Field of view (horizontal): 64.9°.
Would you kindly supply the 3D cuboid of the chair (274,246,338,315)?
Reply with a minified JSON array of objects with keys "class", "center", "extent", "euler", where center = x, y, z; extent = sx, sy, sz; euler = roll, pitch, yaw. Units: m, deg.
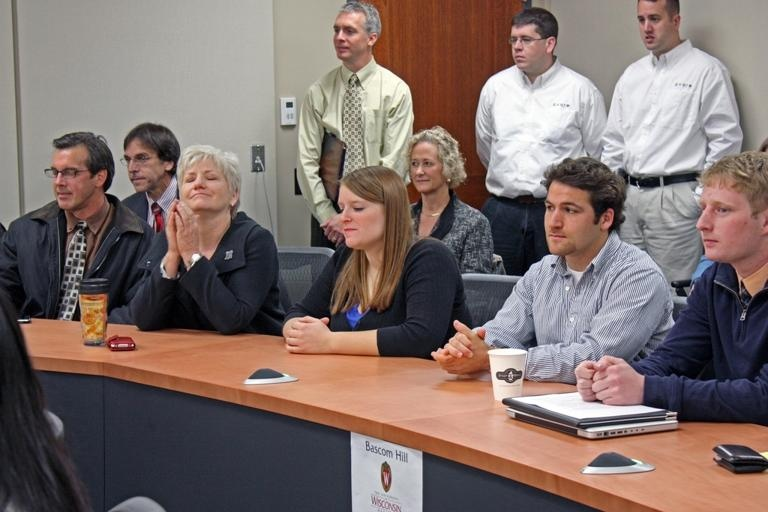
[{"class":"chair","center":[-0.459,0.129,3.320],"extent":[0.294,0.433,0.345],"euler":[0,-5,11]}]

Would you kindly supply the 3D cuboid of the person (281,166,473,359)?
[{"class":"person","center":[-0.012,0.040,2.717],"extent":[0.809,0.825,0.723],"euler":[-3,-4,42]}]

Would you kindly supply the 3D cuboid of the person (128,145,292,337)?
[{"class":"person","center":[-0.846,-0.076,3.049],"extent":[0.706,0.929,0.810],"euler":[-1,-1,8]}]

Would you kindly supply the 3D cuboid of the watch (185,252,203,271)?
[{"class":"watch","center":[-0.845,0.020,2.708],"extent":[0.032,0.078,0.058],"euler":[34,15,0]}]

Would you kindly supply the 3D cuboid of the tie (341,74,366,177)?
[{"class":"tie","center":[-0.224,-0.962,4.350],"extent":[0.176,0.700,0.099],"euler":[2,7,32]}]

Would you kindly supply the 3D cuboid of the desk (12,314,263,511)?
[{"class":"desk","center":[-0.766,0.520,1.940],"extent":[0.368,0.485,0.711],"euler":[-8,11,-43]}]

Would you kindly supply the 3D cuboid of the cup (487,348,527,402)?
[{"class":"cup","center":[0.381,0.364,1.867],"extent":[0.138,0.161,0.142],"euler":[0,-3,0]}]

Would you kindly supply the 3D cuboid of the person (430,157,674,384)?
[{"class":"person","center":[0.617,0.062,2.527],"extent":[1.002,0.916,0.682],"euler":[2,0,-36]}]

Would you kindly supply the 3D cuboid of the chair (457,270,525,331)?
[{"class":"chair","center":[0.497,0.202,2.773],"extent":[0.215,0.302,0.241],"euler":[0,-5,10]}]
